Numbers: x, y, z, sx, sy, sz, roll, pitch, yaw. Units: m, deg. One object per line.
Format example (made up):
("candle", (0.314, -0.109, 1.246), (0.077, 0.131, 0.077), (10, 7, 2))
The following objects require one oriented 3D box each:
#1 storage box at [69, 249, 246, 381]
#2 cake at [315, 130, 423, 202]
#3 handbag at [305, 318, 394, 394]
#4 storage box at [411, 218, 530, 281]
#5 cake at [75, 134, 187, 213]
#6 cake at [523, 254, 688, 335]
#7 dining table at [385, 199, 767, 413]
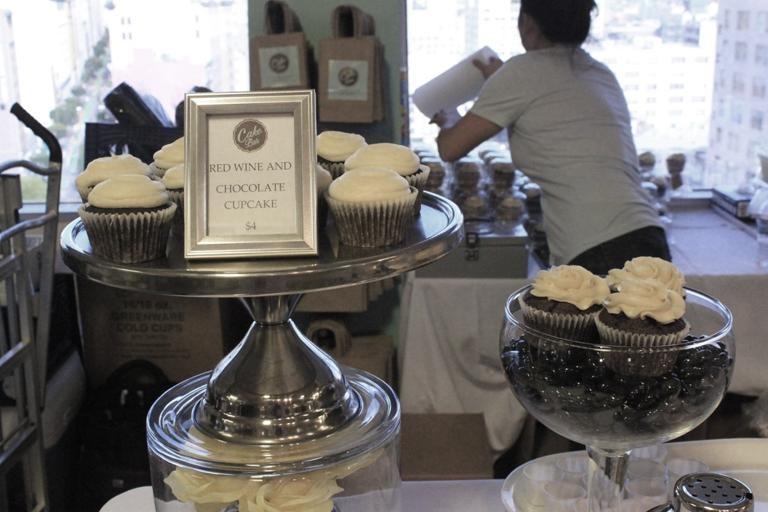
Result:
("storage box", (-0.880, 0.075, 2.904), (0.694, 0.547, 0.395), (-1, 7, -1))
("cake", (-0.044, -0.220, 1.673), (0.138, 0.076, 0.198), (-8, 18, -26))
("handbag", (-0.136, 0.372, 3.002), (0.309, 0.317, 0.322), (-2, 48, 3))
("storage box", (0.316, -0.034, 2.981), (0.500, 0.208, 0.393), (-3, 18, -8))
("cake", (-0.575, -0.189, 1.684), (0.206, 0.112, 0.168), (1, 8, -2))
("cake", (0.429, 0.076, 1.452), (0.251, 0.104, 0.169), (-7, 38, 11))
("dining table", (0.661, 0.225, 2.839), (0.860, 0.376, 0.911), (2, 33, 5))
